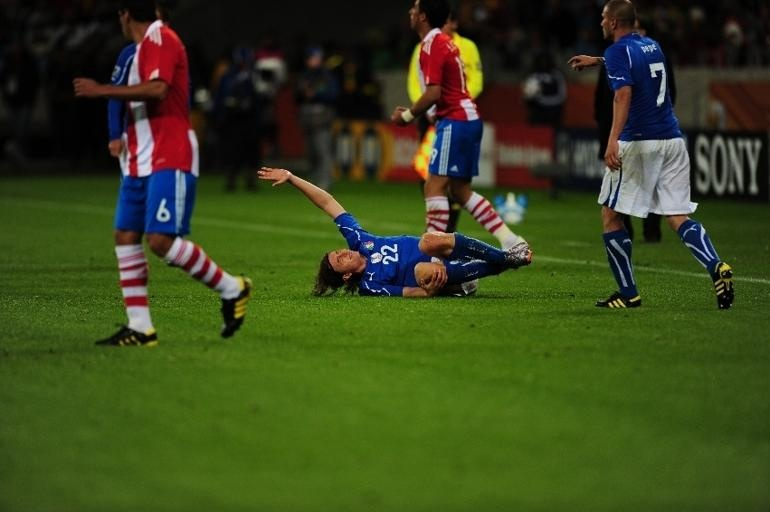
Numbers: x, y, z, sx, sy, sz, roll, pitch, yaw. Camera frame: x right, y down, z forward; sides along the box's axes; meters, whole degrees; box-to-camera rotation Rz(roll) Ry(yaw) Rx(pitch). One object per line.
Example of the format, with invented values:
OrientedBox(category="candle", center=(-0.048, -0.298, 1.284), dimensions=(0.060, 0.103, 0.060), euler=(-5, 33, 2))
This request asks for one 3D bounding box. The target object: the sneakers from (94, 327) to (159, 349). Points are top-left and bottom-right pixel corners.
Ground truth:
OrientedBox(category="sneakers", center=(-1.959, 0.614, 7.125), dimensions=(0.458, 0.181, 0.164), euler=(2, -3, -6))

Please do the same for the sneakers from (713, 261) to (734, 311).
OrientedBox(category="sneakers", center=(2.947, 0.248, 8.102), dimensions=(0.163, 0.471, 0.241), euler=(-6, 1, 0))

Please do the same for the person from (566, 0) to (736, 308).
OrientedBox(category="person", center=(2.390, -0.730, 8.177), dimensions=(1.015, 2.380, 0.615), euler=(2, 7, 10))

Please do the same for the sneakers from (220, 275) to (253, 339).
OrientedBox(category="sneakers", center=(-1.172, 0.443, 7.242), dimensions=(0.231, 0.531, 0.177), euler=(7, 11, -29))

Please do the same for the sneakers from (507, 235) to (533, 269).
OrientedBox(category="sneakers", center=(1.221, -0.032, 8.586), dimensions=(0.208, 0.253, 0.467), euler=(2, 8, 7))

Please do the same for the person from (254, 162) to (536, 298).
OrientedBox(category="person", center=(0.200, -0.221, 8.839), dimensions=(2.700, 1.164, 1.102), euler=(3, 36, -2))

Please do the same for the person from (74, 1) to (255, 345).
OrientedBox(category="person", center=(-1.697, -0.611, 7.059), dimensions=(1.162, 2.596, 0.534), euler=(0, 6, -9))

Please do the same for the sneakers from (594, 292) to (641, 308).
OrientedBox(category="sneakers", center=(2.054, 0.397, 8.328), dimensions=(0.414, 0.183, 0.144), euler=(3, 0, 11))
